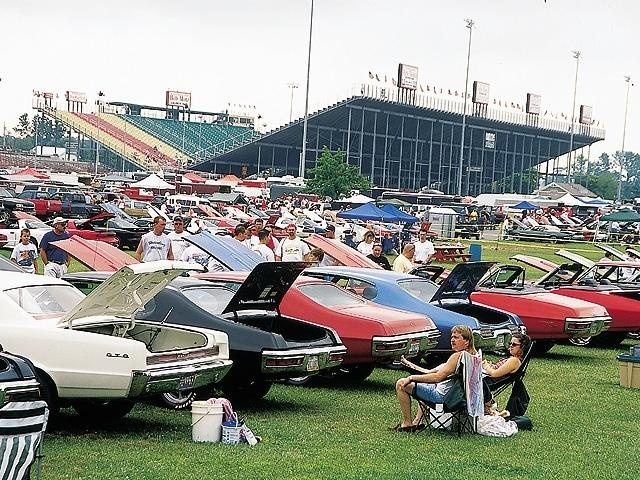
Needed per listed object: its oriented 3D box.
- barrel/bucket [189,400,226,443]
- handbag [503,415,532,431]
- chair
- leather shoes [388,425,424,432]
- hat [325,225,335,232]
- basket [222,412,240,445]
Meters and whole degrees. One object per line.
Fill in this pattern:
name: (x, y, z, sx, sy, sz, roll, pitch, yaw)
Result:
barrel/bucket: (-1.216, 1.994, 10.641, 0.500, 0.359, 0.426, 0, -5, 6)
handbag: (2.501, 2.251, 11.934, 0.229, 0.060, 0.206, -1, 9, -22)
chair: (1.981, 1.774, 11.641, 1.697, 0.931, 1.100, 1, -2, 29)
leather shoes: (1.043, 2.233, 11.509, 0.394, 0.087, 0.127, 1, -5, 15)
hat: (0.307, -0.260, 23.660, 0.227, 0.097, 0.281, 7, 2, -8)
basket: (-0.946, 2.082, 10.639, 0.328, 0.336, 0.250, 1, -15, 2)
